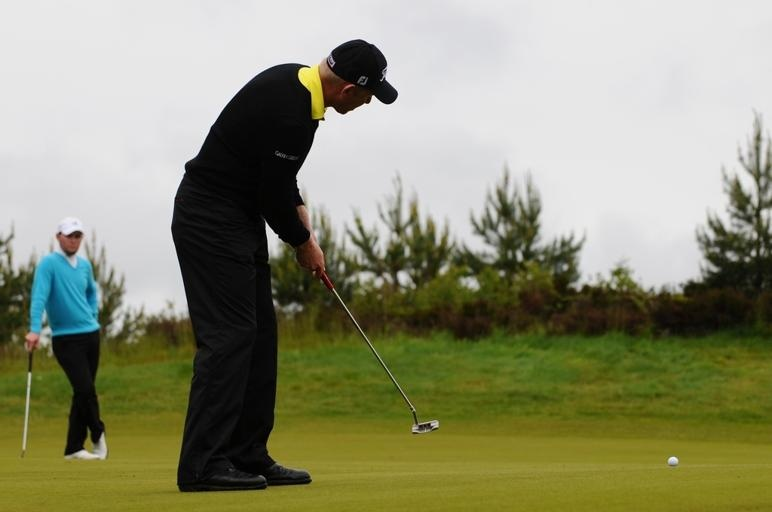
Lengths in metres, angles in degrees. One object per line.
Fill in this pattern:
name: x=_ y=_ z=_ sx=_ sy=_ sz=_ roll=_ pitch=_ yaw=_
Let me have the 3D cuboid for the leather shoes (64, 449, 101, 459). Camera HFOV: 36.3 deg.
leather shoes: x=-2.298 y=1.487 z=8.910 sx=0.236 sy=0.075 sz=0.098 roll=-1 pitch=-1 yaw=6

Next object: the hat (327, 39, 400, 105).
hat: x=-0.111 y=-1.192 z=7.432 sx=0.483 sy=0.256 sz=0.307 roll=22 pitch=29 yaw=-19

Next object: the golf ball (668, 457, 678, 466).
golf ball: x=1.917 y=1.390 z=7.924 sx=0.044 sy=0.049 sz=0.055 roll=-38 pitch=-26 yaw=30

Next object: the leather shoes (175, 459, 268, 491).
leather shoes: x=-1.000 y=1.380 z=7.315 sx=0.520 sy=0.219 sz=0.206 roll=-1 pitch=-8 yaw=-5

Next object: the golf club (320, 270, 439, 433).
golf club: x=-0.043 y=1.112 z=13.101 sx=0.324 sy=1.776 sz=0.145 roll=-34 pitch=-12 yaw=31

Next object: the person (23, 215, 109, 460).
person: x=-2.450 y=0.625 z=9.086 sx=0.618 sy=1.878 sz=0.410 roll=1 pitch=-7 yaw=-16

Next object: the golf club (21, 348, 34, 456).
golf club: x=-2.843 y=1.141 z=9.370 sx=0.042 sy=1.098 sz=0.031 roll=20 pitch=22 yaw=26

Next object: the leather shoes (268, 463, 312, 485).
leather shoes: x=-0.624 y=1.395 z=7.493 sx=0.304 sy=0.134 sz=0.114 roll=-1 pitch=-8 yaw=-2

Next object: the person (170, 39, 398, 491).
person: x=-0.718 y=0.077 z=7.376 sx=1.146 sy=2.732 sz=0.496 roll=-4 pitch=-7 yaw=18
